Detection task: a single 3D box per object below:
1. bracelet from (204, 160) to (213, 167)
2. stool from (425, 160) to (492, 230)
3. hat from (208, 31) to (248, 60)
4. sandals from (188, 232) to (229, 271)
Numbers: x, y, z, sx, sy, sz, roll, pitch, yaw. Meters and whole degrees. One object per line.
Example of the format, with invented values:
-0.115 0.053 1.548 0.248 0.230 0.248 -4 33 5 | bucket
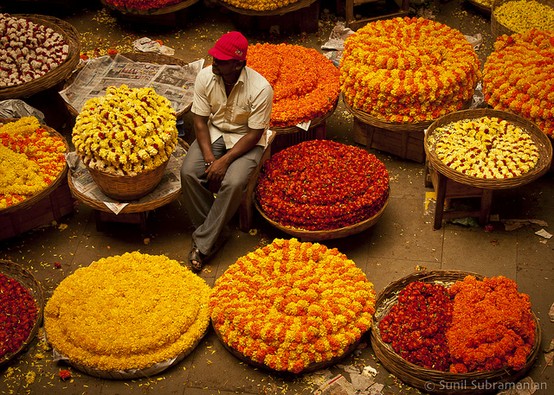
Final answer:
-0.741 -0.368 4.375 0.069 0.018 0.063 -7 38 24 | bracelet
2.112 -0.044 4.884 0.653 0.566 0.981 1 13 4 | stool
-0.479 -1.488 4.070 0.409 0.222 0.274 -7 50 -24 | hat
-0.785 0.598 4.501 0.223 0.612 0.159 37 6 -12 | sandals
